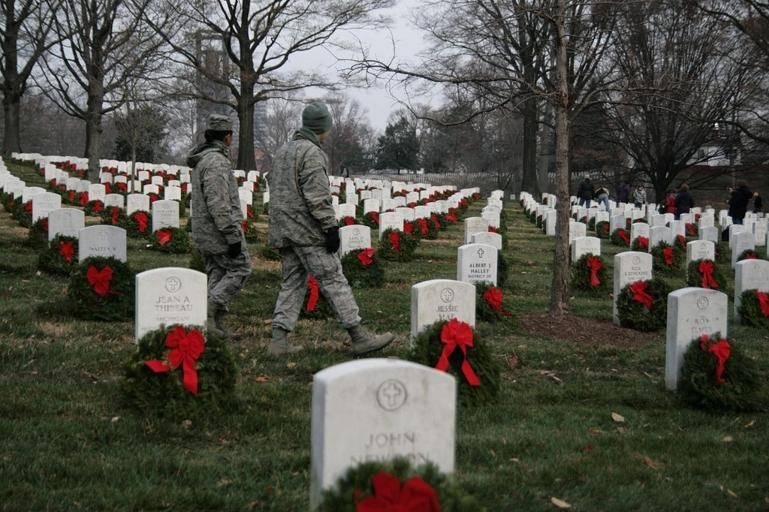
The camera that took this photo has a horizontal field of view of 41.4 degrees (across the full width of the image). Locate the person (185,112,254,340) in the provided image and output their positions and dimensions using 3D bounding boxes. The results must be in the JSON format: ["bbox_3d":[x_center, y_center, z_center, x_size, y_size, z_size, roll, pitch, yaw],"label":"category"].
[{"bbox_3d":[-2.968,-0.595,18.350,1.102,3.952,0.659,1,3,-8],"label":"person"}]

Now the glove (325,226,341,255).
[{"bbox_3d":[-0.895,-0.301,17.721,0.282,0.416,0.143,1,7,11],"label":"glove"}]

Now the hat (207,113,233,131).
[{"bbox_3d":[-2.982,-2.425,18.375,0.347,0.193,0.274,4,8,10],"label":"hat"}]

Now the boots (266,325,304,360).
[{"bbox_3d":[-1.833,1.537,18.131,0.851,0.628,0.310,-3,8,-26],"label":"boots"}]

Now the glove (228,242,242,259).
[{"bbox_3d":[-2.681,-0.121,18.273,0.254,0.307,0.160,1,3,-10],"label":"glove"}]

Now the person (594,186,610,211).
[{"bbox_3d":[7.726,-2.132,36.004,0.475,1.416,0.422,1,-41,4],"label":"person"}]
